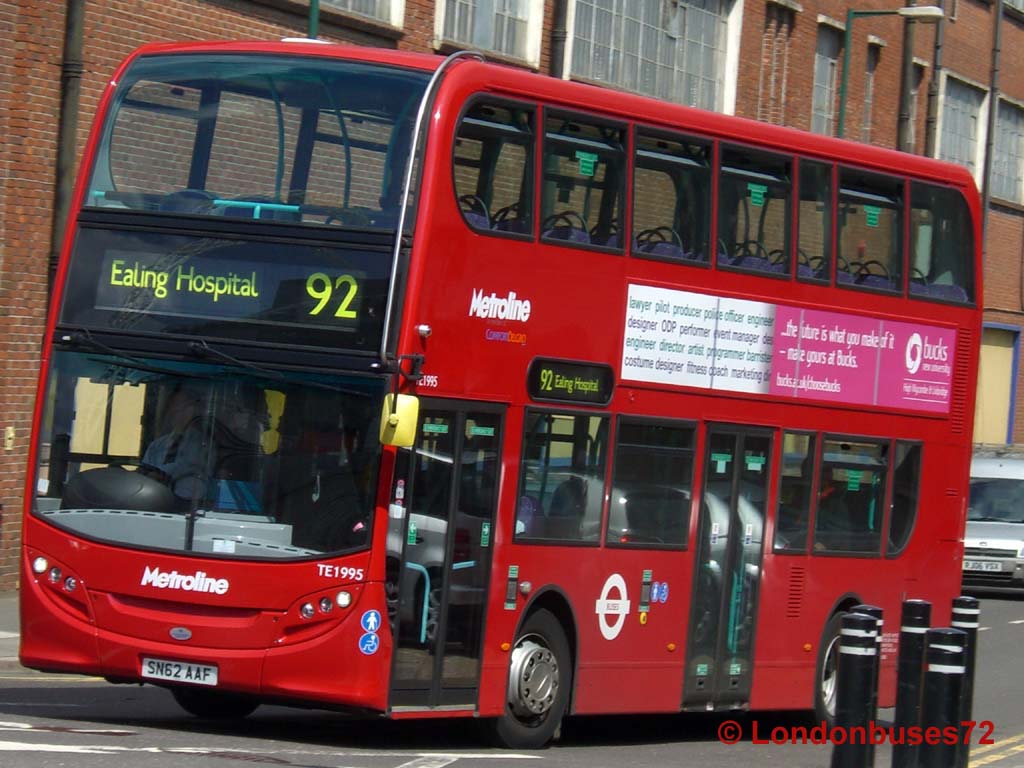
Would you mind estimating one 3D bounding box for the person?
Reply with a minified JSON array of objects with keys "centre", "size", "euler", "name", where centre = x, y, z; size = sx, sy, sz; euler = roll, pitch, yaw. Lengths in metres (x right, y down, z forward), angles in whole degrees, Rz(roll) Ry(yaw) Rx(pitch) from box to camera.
[{"centre":[-2.148,0.415,8.420],"size":[0.581,0.735,0.287],"euler":[6,2,42],"name":"person"}]
